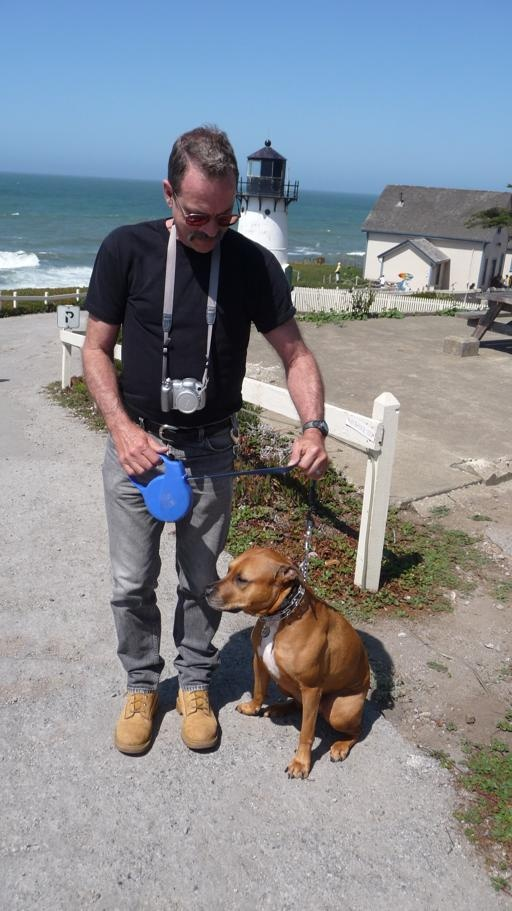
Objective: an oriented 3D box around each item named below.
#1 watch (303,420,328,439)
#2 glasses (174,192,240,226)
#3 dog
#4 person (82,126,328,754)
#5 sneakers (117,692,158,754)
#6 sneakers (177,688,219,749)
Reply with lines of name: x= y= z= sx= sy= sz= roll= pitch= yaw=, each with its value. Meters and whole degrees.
watch: x=0.225 y=-0.112 z=2.469 sx=0.085 sy=0.063 sz=0.095 roll=-1 pitch=-7 yaw=9
glasses: x=-0.141 y=-0.821 z=2.178 sx=0.261 sy=0.087 sz=0.124 roll=-12 pitch=22 yaw=-42
dog: x=0.168 y=0.788 z=2.679 sx=0.722 sy=0.914 sz=0.504 roll=-11 pitch=18 yaw=-35
person: x=-0.221 y=0.060 z=2.508 sx=0.847 sy=2.495 sz=0.606 roll=-2 pitch=16 yaw=-16
sneakers: x=-0.504 y=1.140 z=2.751 sx=0.100 sy=0.126 sz=0.286 roll=5 pitch=4 yaw=-2
sneakers: x=-0.250 y=1.154 z=2.786 sx=0.103 sy=0.133 sz=0.278 roll=-1 pitch=0 yaw=-9
